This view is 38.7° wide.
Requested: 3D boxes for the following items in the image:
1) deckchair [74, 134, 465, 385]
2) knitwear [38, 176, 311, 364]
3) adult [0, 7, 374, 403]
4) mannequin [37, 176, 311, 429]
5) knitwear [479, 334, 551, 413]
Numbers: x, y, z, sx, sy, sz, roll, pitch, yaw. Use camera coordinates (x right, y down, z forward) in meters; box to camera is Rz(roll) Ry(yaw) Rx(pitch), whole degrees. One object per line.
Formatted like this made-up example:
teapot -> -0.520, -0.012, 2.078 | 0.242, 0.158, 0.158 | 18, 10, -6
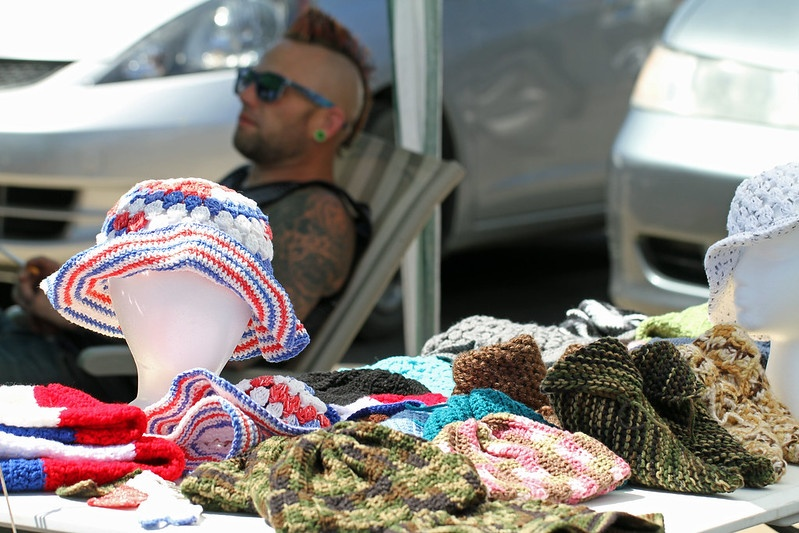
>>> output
deckchair -> -0.489, -0.155, 4.461 | 1.273, 0.880, 0.833 | 0, 23, -30
knitwear -> -0.610, 0.023, 3.185 | 0.589, 0.324, 0.536 | 14, -8, -10
adult -> -0.931, -0.248, 4.206 | 1.069, 1.046, 1.614 | 21, 20, 40
mannequin -> -0.650, 0.158, 3.262 | 0.655, 0.530, 0.651 | 6, -8, -17
knitwear -> 0.322, 0.287, 3.135 | 0.178, 0.194, 0.057 | -18, 1, 36
